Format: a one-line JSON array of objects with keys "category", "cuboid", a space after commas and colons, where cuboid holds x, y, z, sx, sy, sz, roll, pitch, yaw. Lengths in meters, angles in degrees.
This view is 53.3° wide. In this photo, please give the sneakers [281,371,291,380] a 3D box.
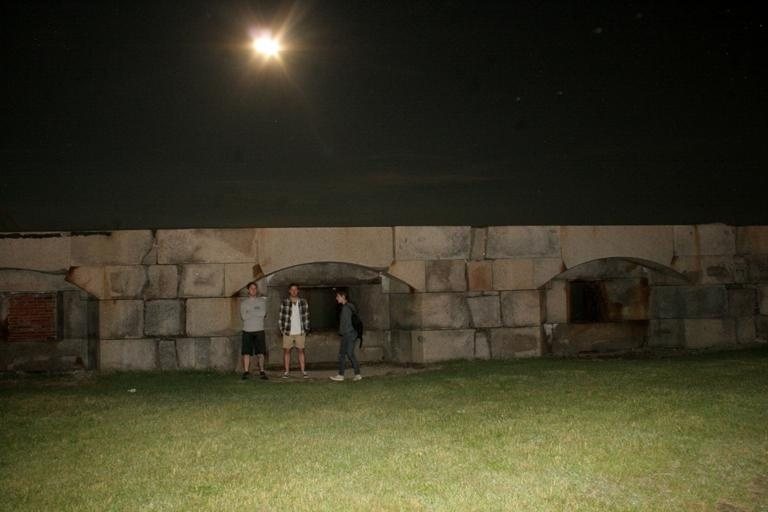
[{"category": "sneakers", "cuboid": [-1.807, 2.198, 14.083, 0.086, 0.103, 0.253, -1, -16, 2]}]

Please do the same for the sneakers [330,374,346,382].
[{"category": "sneakers", "cuboid": [-0.841, 2.232, 13.817, 0.271, 0.189, 0.104, 3, -28, 7]}]

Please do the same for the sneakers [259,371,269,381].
[{"category": "sneakers", "cuboid": [-2.190, 2.170, 13.857, 0.237, 0.223, 0.104, -1, -2, -12]}]

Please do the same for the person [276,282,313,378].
[{"category": "person", "cuboid": [-1.633, 1.376, 13.960, 0.524, 1.849, 0.487, -5, 13, -16]}]

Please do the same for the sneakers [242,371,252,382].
[{"category": "sneakers", "cuboid": [-2.482, 2.160, 13.786, 0.187, 0.176, 0.113, -1, -4, -2]}]

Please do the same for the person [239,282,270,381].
[{"category": "person", "cuboid": [-2.362, 1.353, 13.826, 0.474, 1.703, 0.727, -3, 13, -10]}]

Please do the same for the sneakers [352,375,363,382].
[{"category": "sneakers", "cuboid": [-0.478, 2.204, 13.832, 0.079, 0.149, 0.220, 1, -2, -31]}]

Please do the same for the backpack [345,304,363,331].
[{"category": "backpack", "cuboid": [-0.504, 1.119, 13.806, 0.210, 0.486, 0.413, -2, 13, -3]}]
